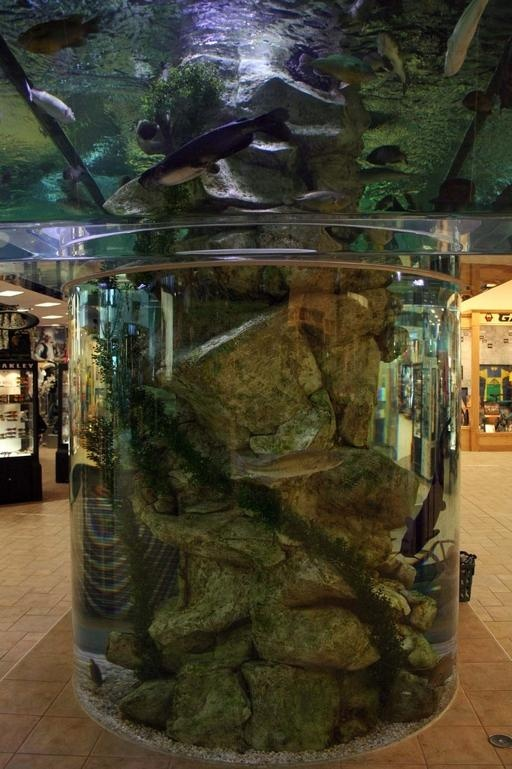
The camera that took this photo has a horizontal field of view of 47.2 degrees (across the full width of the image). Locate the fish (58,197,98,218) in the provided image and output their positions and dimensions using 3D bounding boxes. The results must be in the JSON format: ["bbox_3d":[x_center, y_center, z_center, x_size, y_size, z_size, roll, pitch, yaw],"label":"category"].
[{"bbox_3d":[-0.708,-0.706,2.338,0.146,0.035,0.137,-1,-1,10],"label":"fish"}]

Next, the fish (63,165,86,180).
[{"bbox_3d":[-0.670,-0.763,2.158,0.045,0.054,0.080,-11,21,-44],"label":"fish"}]

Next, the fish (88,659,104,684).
[{"bbox_3d":[-0.839,1.489,3.041,0.041,0.146,0.124,1,-3,-37],"label":"fish"}]

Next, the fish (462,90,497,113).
[{"bbox_3d":[0.746,-0.945,1.968,0.106,0.049,0.058,0,-2,-14],"label":"fish"}]

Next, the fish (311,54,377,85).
[{"bbox_3d":[0.269,-0.985,1.848,0.187,0.071,0.122,-1,-2,22],"label":"fish"}]

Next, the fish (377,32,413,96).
[{"bbox_3d":[0.440,-1.028,1.865,0.030,0.069,0.168,-9,-47,38],"label":"fish"}]

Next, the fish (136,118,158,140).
[{"bbox_3d":[-0.381,-0.878,2.025,0.069,0.062,0.023,3,18,7],"label":"fish"}]

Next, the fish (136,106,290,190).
[{"bbox_3d":[-0.162,-0.804,1.966,0.441,0.119,0.132,-19,-51,40],"label":"fish"}]

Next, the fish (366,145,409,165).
[{"bbox_3d":[0.474,-0.820,2.102,0.161,0.063,0.052,0,-2,-9],"label":"fish"}]

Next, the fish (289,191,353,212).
[{"bbox_3d":[0.248,-0.694,2.228,0.223,0.044,0.137,0,-2,-27],"label":"fish"}]

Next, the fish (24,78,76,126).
[{"bbox_3d":[-0.704,-0.965,1.992,0.190,0.074,0.033,30,19,-34],"label":"fish"}]

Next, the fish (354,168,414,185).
[{"bbox_3d":[0.476,-0.768,2.148,0.197,0.041,0.057,0,-2,3],"label":"fish"}]
